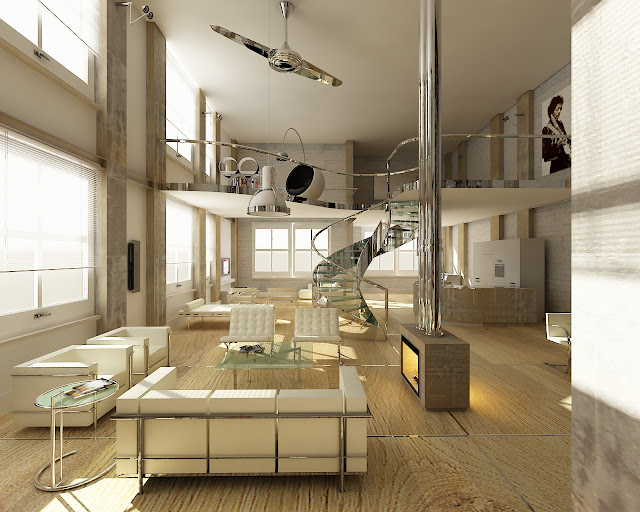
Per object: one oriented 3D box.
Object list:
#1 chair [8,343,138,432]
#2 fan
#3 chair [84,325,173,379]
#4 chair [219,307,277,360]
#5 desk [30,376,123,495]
[{"bbox_3d":[-2.693,1.320,4.997,0.847,0.610,1.284,0,0,-3],"label":"chair"},{"bbox_3d":[-0.828,-3.821,8.286,1.766,0.720,1.765,-5,-16,41],"label":"fan"},{"bbox_3d":[-2.460,1.386,6.027,0.646,0.623,0.979,0,1,-3],"label":"chair"},{"bbox_3d":[-1.121,1.184,7.205,0.862,0.676,0.789,0,2,0],"label":"chair"},{"bbox_3d":[-2.281,1.523,4.241,0.870,0.828,0.874,2,4,14],"label":"desk"}]
